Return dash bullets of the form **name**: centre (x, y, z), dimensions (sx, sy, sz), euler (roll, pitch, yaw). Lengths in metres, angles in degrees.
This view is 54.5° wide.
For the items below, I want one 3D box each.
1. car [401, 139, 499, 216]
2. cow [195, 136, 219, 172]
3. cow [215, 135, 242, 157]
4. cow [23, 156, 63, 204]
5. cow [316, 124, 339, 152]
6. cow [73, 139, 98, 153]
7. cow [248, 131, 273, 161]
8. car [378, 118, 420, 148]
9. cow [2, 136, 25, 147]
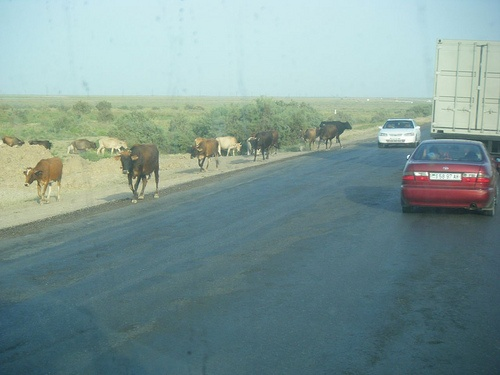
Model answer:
- **car**: centre (5.208, -0.175, 12.818), dimensions (2.328, 1.899, 1.718), euler (1, 10, 10)
- **cow**: centre (-2.202, -1.842, 26.862), dimensions (2.009, 1.254, 0.608), euler (-5, -6, 28)
- **cow**: centre (-1.675, -3.221, 37.934), dimensions (1.561, 1.810, 5.422), euler (-2, 10, -4)
- **cow**: centre (-8.076, -0.244, 19.047), dimensions (0.786, 1.554, 2.480), euler (2, 8, 10)
- **cow**: centre (6.125, -3.983, 38.039), dimensions (1.139, 1.918, 2.419), euler (2, 10, 20)
- **cow**: centre (-14.975, -3.793, 43.921), dimensions (1.340, 1.160, 2.386), euler (2, 11, 18)
- **cow**: centre (0.820, -2.754, 32.111), dimensions (1.231, 1.821, 1.973), euler (0, 10, 10)
- **car**: centre (10.766, -3.853, 34.962), dimensions (3.139, 1.966, 2.310), euler (-10, 13, -40)
- **cow**: centre (-19.919, -3.903, 40.619), dimensions (1.388, 0.657, 1.617), euler (-8, 12, -34)
